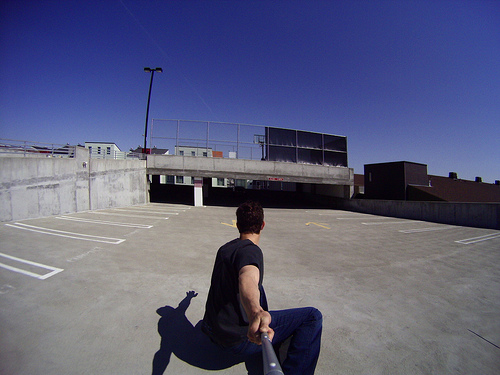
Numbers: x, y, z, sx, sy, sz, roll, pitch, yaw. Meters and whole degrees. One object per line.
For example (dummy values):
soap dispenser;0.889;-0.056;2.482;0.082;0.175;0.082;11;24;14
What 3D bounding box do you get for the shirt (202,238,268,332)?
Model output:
shirt;-0.301;1.653;5.172;1.070;1.594;0.443;0;-1;22
